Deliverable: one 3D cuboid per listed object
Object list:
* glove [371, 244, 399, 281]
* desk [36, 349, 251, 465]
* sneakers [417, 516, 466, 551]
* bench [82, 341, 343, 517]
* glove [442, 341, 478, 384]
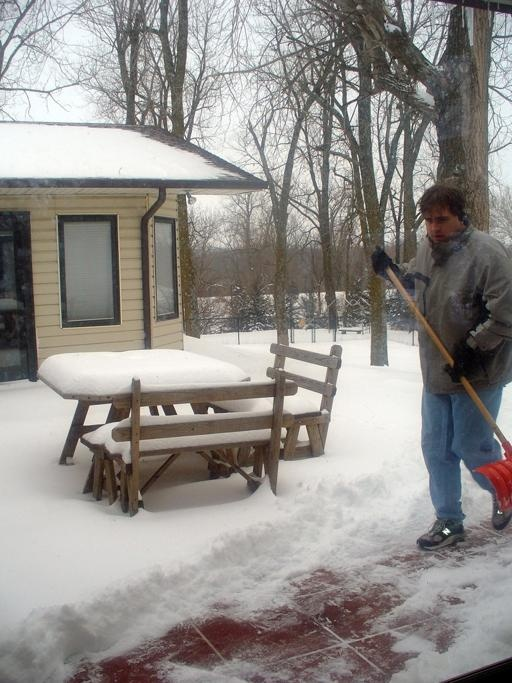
[{"bbox_3d":[0.517,-0.320,2.590,0.053,0.124,0.091,-25,19,5],"label":"glove"},{"bbox_3d":[-0.596,0.264,3.059,0.530,0.276,0.529,-13,3,2],"label":"desk"},{"bbox_3d":[0.752,0.790,2.607,0.228,0.104,0.081,-4,-5,-22],"label":"sneakers"},{"bbox_3d":[-0.168,0.371,2.868,0.955,0.461,0.702,1,3,-35],"label":"bench"},{"bbox_3d":[0.800,0.083,2.444,0.108,0.147,0.049,13,7,23],"label":"glove"}]
